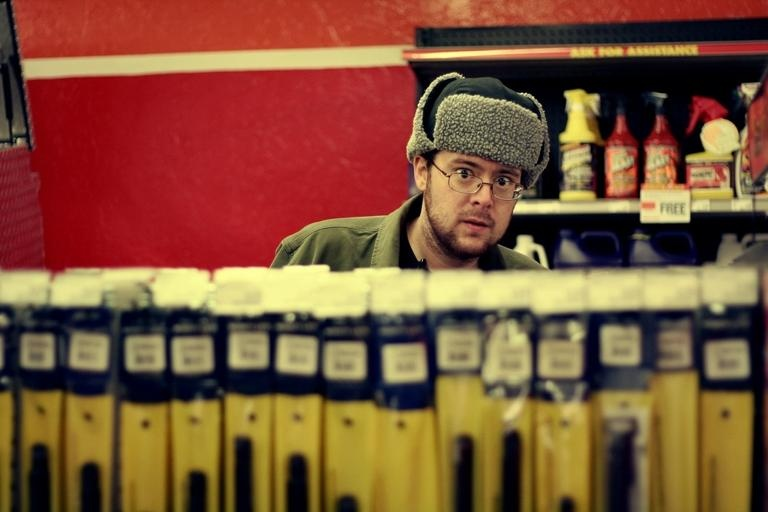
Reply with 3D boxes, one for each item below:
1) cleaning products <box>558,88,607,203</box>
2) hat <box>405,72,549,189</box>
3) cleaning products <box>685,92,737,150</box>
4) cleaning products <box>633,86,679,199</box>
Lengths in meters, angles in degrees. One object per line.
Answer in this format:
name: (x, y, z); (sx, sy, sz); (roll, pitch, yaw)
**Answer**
cleaning products: (0.892, -0.465, 4.447); (0.200, 0.506, 0.293); (-1, -9, 10)
hat: (0.353, -0.476, 3.643); (0.515, 0.351, 0.557); (12, 3, 36)
cleaning products: (1.439, -0.638, 4.409); (0.184, 0.164, 0.234); (-2, -10, 18)
cleaning products: (1.238, -0.510, 4.417); (0.161, 0.491, 0.339); (-2, -10, 17)
